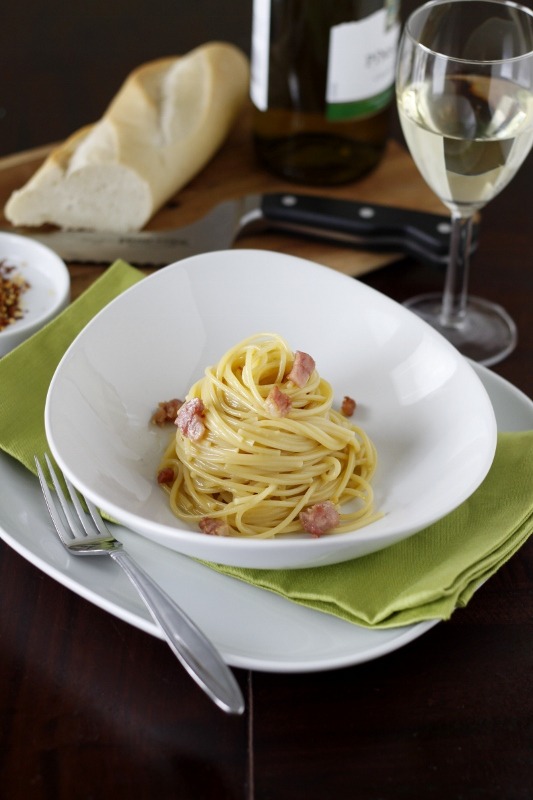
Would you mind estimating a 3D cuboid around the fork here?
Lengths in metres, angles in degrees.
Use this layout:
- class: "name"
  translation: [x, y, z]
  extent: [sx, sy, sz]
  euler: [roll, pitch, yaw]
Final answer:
- class: "fork"
  translation: [-0.134, 0.144, 0.674]
  extent: [0.044, 0.063, 0.339]
  euler: [-35, 53, -20]

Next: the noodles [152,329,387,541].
- class: "noodles"
  translation: [-0.003, 0.058, 0.901]
  extent: [0.220, 0.086, 0.217]
  euler: [-1, 47, -3]
